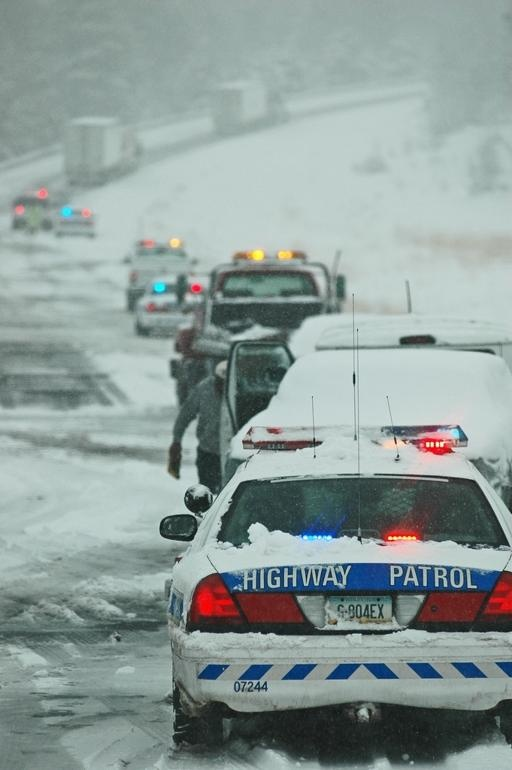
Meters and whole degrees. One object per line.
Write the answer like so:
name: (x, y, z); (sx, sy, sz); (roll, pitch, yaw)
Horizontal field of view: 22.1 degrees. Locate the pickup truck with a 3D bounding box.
pickup truck: (0.003, -0.576, 12.318); (1.190, 1.221, 1.964); (-1, 10, 0)
